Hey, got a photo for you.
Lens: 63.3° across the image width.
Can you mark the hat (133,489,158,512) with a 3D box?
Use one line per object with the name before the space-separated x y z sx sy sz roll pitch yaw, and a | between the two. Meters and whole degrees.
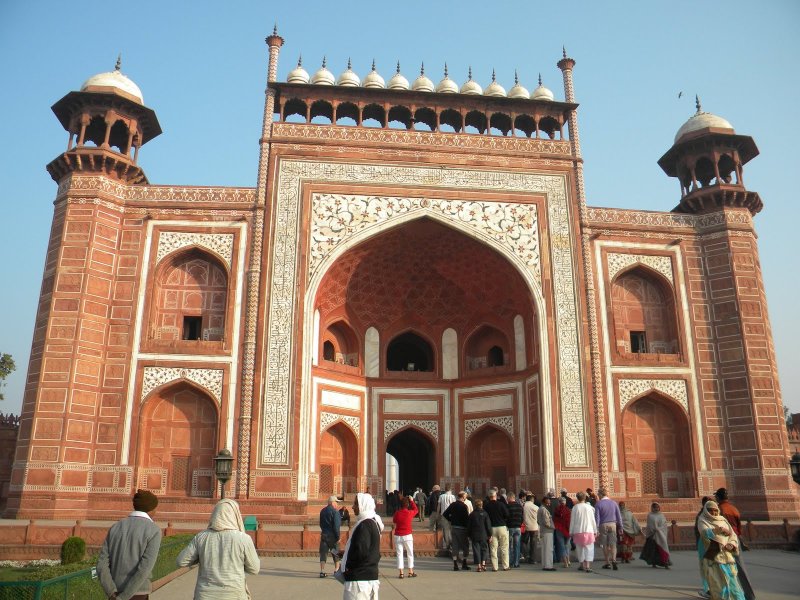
hat | -1.995 1.541 5.062 0.168 0.172 0.204 2 4 0
